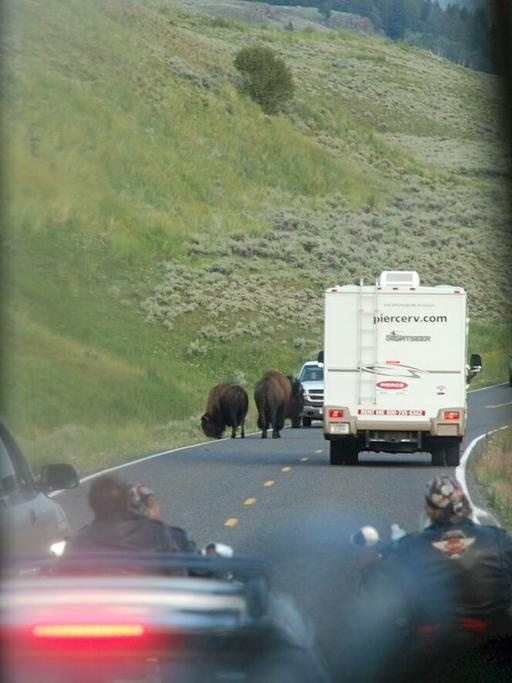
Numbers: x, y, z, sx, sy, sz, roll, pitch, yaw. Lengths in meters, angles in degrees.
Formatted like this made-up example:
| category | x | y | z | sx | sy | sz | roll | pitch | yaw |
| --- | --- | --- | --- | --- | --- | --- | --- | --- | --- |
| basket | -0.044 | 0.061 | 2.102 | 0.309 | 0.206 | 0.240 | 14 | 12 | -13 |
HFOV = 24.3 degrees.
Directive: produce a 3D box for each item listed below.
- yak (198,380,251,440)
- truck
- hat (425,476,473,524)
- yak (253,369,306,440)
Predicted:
| category | x | y | z | sx | sy | sz | roll | pitch | yaw |
| --- | --- | --- | --- | --- | --- | --- | --- | --- | --- |
| yak | -0.746 | 1.566 | 28.219 | 0.837 | 1.499 | 1.057 | -2 | 4 | -10 |
| truck | 2.221 | 0.459 | 18.799 | 2.229 | 3.083 | 0.667 | 2 | 6 | 11 |
| hat | 1.004 | 0.827 | 6.203 | 0.200 | 0.248 | 0.183 | 0 | 2 | 12 |
| yak | 0.545 | 1.491 | 28.276 | 0.586 | 1.458 | 2.053 | 1 | 1 | 16 |
